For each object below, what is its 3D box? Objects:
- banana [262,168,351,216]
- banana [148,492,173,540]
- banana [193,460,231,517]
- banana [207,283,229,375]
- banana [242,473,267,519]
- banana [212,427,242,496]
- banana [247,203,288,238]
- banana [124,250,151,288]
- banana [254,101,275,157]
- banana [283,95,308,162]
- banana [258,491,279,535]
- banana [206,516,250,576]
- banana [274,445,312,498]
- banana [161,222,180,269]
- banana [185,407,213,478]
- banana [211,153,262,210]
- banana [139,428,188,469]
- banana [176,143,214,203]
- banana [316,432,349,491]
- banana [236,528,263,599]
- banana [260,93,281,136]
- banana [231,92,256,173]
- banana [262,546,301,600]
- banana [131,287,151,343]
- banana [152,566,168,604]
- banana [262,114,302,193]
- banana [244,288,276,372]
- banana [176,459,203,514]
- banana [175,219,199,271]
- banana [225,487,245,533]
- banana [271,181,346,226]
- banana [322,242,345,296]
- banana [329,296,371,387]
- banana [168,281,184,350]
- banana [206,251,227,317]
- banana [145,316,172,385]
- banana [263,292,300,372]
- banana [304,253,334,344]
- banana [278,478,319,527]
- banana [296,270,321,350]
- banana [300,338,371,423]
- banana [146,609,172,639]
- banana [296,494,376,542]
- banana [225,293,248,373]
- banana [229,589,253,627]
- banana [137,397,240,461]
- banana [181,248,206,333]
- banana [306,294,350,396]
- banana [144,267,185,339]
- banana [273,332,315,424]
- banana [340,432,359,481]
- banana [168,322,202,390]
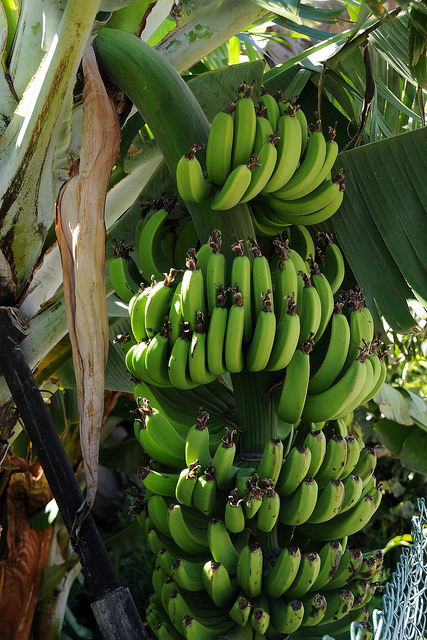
[{"bbox_3d":[0.263,-0.390,1.795,0.205,0.139,0.069,-22,-53,20],"label":"banana"},{"bbox_3d":[-0.164,0.605,1.803,0.063,0.045,0.176,41,16,-19],"label":"banana"},{"bbox_3d":[-0.025,0.462,1.648,0.049,0.161,0.085,11,12,-11],"label":"banana"},{"bbox_3d":[0.013,0.018,1.587,0.065,0.242,0.108,-3,-3,-1],"label":"banana"},{"bbox_3d":[0.104,0.460,1.551,0.077,0.124,0.038,9,3,32],"label":"banana"},{"bbox_3d":[0.046,0.402,1.630,0.067,0.215,0.051,-20,29,-22],"label":"banana"},{"bbox_3d":[0.167,-0.334,1.857,0.134,0.146,0.045,9,-31,-8],"label":"banana"},{"bbox_3d":[-0.242,-0.175,1.913,0.032,0.160,0.054,-20,13,11],"label":"banana"},{"bbox_3d":[0.132,-0.546,1.632,0.043,0.166,0.057,2,3,-12],"label":"banana"},{"bbox_3d":[0.257,-0.595,1.774,0.057,0.241,0.084,-4,4,11],"label":"banana"},{"bbox_3d":[0.147,0.517,1.607,0.047,0.123,0.078,-3,-3,-15],"label":"banana"},{"bbox_3d":[0.049,0.646,1.696,0.112,0.199,0.201,-4,-3,2],"label":"banana"},{"bbox_3d":[0.214,0.437,1.727,0.078,0.065,0.224,-13,-36,-27],"label":"banana"},{"bbox_3d":[-0.141,-0.277,2.111,0.049,0.189,0.061,-8,15,-16],"label":"banana"},{"bbox_3d":[-0.049,0.344,1.636,0.067,0.212,0.059,-7,41,-11],"label":"banana"},{"bbox_3d":[0.057,-0.395,1.598,0.052,0.047,0.150,14,-35,4],"label":"banana"},{"bbox_3d":[-0.159,0.407,1.824,0.047,0.079,0.206,-25,-56,32],"label":"banana"},{"bbox_3d":[-0.038,-0.434,1.676,0.078,0.177,0.254,12,20,14],"label":"banana"},{"bbox_3d":[0.354,0.432,1.804,0.048,0.175,0.112,-1,-4,-42],"label":"banana"},{"bbox_3d":[0.104,0.663,1.625,0.070,0.199,0.062,6,24,12],"label":"banana"},{"bbox_3d":[0.169,-0.629,1.730,0.043,0.162,0.055,7,-20,-31],"label":"banana"},{"bbox_3d":[0.083,-0.522,1.606,0.049,0.207,0.071,10,13,25],"label":"banana"},{"bbox_3d":[0.189,0.707,1.643,0.062,0.190,0.132,15,42,-9],"label":"banana"},{"bbox_3d":[-0.211,-0.018,1.714,0.040,0.175,0.059,1,7,-39],"label":"banana"},{"bbox_3d":[-0.166,0.828,1.874,0.038,0.149,0.048,-2,27,-7],"label":"banana"},{"bbox_3d":[0.204,-0.515,1.749,0.085,0.186,0.317,-20,7,0],"label":"banana"},{"bbox_3d":[0.124,0.030,1.581,0.045,0.190,0.105,-2,-3,-24],"label":"banana"},{"bbox_3d":[-0.067,0.457,1.656,0.068,0.074,0.219,-2,-38,3],"label":"banana"},{"bbox_3d":[-0.093,-0.284,2.118,0.059,0.231,0.071,0,3,-21],"label":"banana"},{"bbox_3d":[0.056,0.514,1.598,0.050,0.134,0.094,-3,-3,-3],"label":"banana"},{"bbox_3d":[0.315,-0.377,1.841,0.121,0.064,0.181,32,-42,-31],"label":"banana"},{"bbox_3d":[0.407,-0.173,1.963,0.050,0.202,0.079,6,38,22],"label":"banana"},{"bbox_3d":[0.427,0.030,1.772,0.080,0.338,0.127,12,-23,1],"label":"banana"},{"bbox_3d":[-0.117,-0.027,1.581,0.039,0.171,0.053,2,7,-34],"label":"banana"},{"bbox_3d":[0.015,-0.113,1.617,0.046,0.180,0.057,-4,-16,28],"label":"banana"},{"bbox_3d":[-0.147,0.093,1.620,0.052,0.221,0.082,4,18,-4],"label":"banana"},{"bbox_3d":[0.181,0.026,1.586,0.076,0.240,0.073,20,38,0],"label":"banana"},{"bbox_3d":[0.303,-0.077,1.787,0.100,0.254,0.072,8,-22,-40],"label":"banana"},{"bbox_3d":[0.236,0.506,1.667,0.047,0.145,0.094,25,6,-20],"label":"banana"},{"bbox_3d":[0.265,-0.032,1.669,0.055,0.226,0.087,-3,-4,24],"label":"banana"},{"bbox_3d":[0.333,0.167,1.638,0.098,0.146,0.330,7,-27,-19],"label":"banana"},{"bbox_3d":[-0.170,0.975,1.894,0.064,0.092,0.033,-11,2,11],"label":"banana"},{"bbox_3d":[0.357,0.590,1.803,0.317,0.118,0.065,18,0,-28],"label":"banana"},{"bbox_3d":[0.061,0.023,1.558,0.066,0.258,0.070,-1,37,2],"label":"banana"},{"bbox_3d":[0.079,0.795,1.636,0.058,0.051,0.122,38,-24,21],"label":"banana"},{"bbox_3d":[-0.138,0.336,1.750,0.216,0.145,0.073,10,16,-34],"label":"banana"},{"bbox_3d":[-0.044,-0.092,1.589,0.053,0.223,0.077,-2,15,-3],"label":"banana"},{"bbox_3d":[0.350,0.090,1.733,0.082,0.359,0.133,13,-3,21],"label":"banana"},{"bbox_3d":[-0.149,-0.050,1.689,0.079,0.229,0.062,21,4,-27],"label":"banana"},{"bbox_3d":[0.221,0.148,1.634,0.078,0.084,0.271,10,-38,13],"label":"banana"},{"bbox_3d":[0.431,0.414,1.913,0.059,0.185,0.043,11,19,22],"label":"banana"},{"bbox_3d":[-0.069,0.082,1.591,0.078,0.193,0.061,-8,25,-9],"label":"banana"}]
